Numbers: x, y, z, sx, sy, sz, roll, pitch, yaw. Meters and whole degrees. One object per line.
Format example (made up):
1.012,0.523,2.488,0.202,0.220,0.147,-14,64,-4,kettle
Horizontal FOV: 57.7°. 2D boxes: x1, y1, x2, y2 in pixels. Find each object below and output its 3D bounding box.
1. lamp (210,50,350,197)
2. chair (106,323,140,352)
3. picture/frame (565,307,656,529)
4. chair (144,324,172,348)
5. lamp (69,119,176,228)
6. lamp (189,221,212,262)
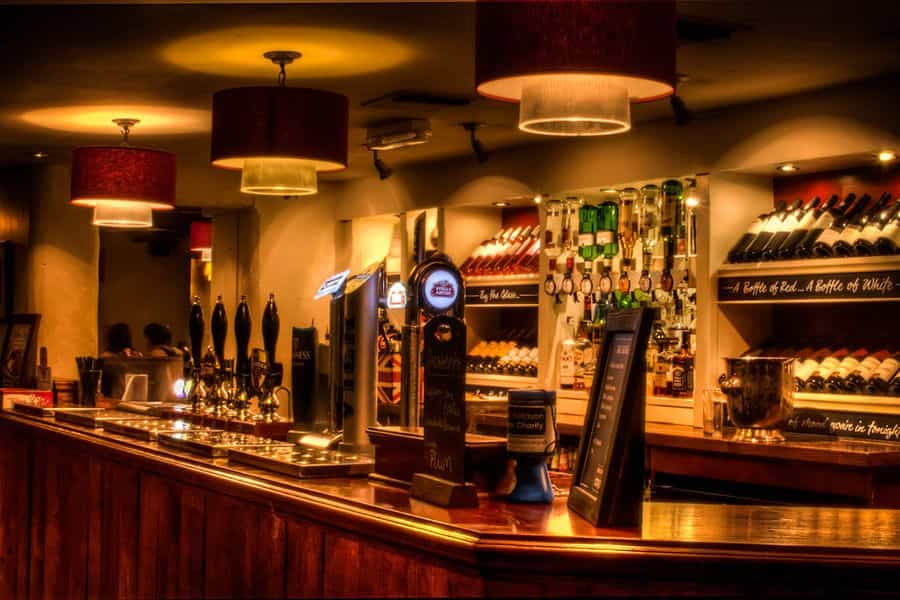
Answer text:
-0.913,-1.026,4.299,0.596,0.891,0.568,5,-5,-45,lamp
-3.204,0.384,8.004,0.268,0.345,0.325,-6,-6,40,chair
0.421,0.298,2.121,0.147,0.557,0.289,3,-4,-17,picture/frame
-3.041,0.353,8.408,0.251,0.333,0.254,-1,3,-21,chair
-2.243,-0.846,5.602,0.656,0.659,0.667,2,1,-23,lamp
-3.465,-0.866,11.210,0.267,0.550,0.697,3,-4,-18,lamp
